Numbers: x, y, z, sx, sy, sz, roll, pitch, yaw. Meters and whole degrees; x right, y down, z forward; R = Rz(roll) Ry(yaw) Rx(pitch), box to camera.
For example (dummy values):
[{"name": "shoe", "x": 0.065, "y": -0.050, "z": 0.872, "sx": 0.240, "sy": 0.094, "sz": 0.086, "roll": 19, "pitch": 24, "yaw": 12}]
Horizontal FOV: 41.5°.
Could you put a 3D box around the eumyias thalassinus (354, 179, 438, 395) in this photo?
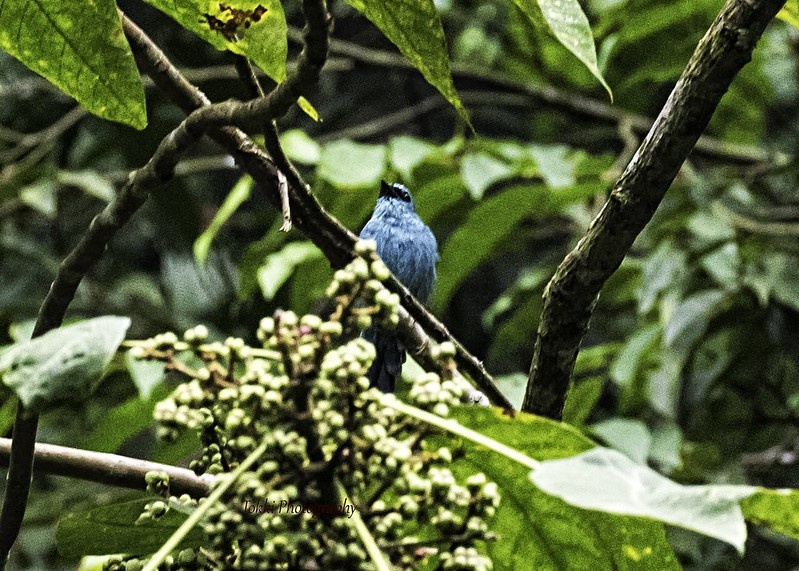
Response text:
[{"name": "eumyias thalassinus", "x": -0.010, "y": 0.019, "z": 4.819, "sx": 0.307, "sy": 0.940, "sz": 0.390, "roll": -7, "pitch": -3, "yaw": 16}]
